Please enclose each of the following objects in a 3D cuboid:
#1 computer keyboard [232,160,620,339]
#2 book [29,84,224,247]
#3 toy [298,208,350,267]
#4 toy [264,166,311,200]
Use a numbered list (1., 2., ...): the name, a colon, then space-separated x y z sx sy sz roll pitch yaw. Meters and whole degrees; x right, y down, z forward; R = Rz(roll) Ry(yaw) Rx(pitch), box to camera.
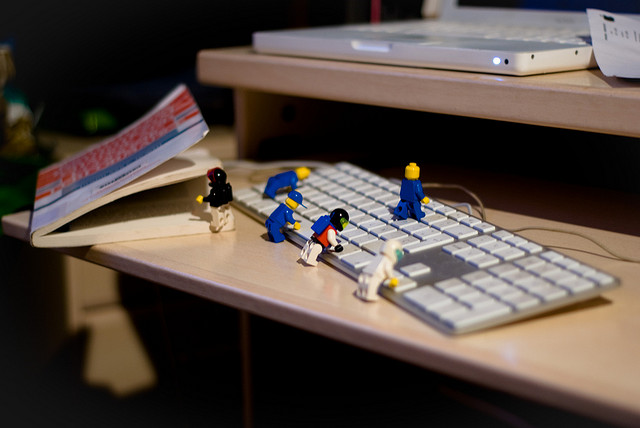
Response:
1. computer keyboard: 0.128 0.033 0.802 0.225 0.058 0.509 -27 39 -37
2. book: -0.334 -0.087 0.939 0.300 0.138 0.358 -6 24 -15
3. toy: 0.009 0.031 0.789 0.047 0.092 0.050 26 9 -13
4. toy: -0.054 -0.052 0.929 0.084 0.038 0.027 -20 26 -15
